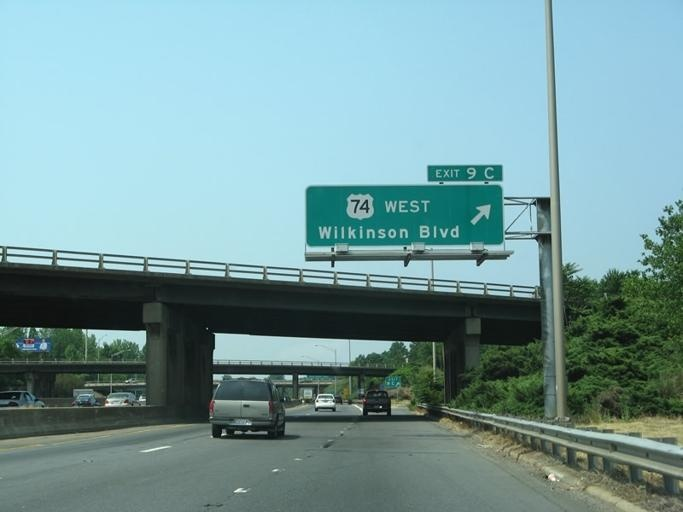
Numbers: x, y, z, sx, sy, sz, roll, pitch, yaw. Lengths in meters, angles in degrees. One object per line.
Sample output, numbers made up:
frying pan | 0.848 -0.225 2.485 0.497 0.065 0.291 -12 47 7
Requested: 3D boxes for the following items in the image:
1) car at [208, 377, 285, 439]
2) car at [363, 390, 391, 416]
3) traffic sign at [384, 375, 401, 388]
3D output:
car | -4.168 6.656 46.916 3.159 2.538 2.371 1 -11 -14
car | 2.401 10.546 77.455 1.898 2.027 2.919 -2 -11 0
traffic sign | 6.965 17.757 153.103 2.390 2.028 0.096 -8 -24 23
